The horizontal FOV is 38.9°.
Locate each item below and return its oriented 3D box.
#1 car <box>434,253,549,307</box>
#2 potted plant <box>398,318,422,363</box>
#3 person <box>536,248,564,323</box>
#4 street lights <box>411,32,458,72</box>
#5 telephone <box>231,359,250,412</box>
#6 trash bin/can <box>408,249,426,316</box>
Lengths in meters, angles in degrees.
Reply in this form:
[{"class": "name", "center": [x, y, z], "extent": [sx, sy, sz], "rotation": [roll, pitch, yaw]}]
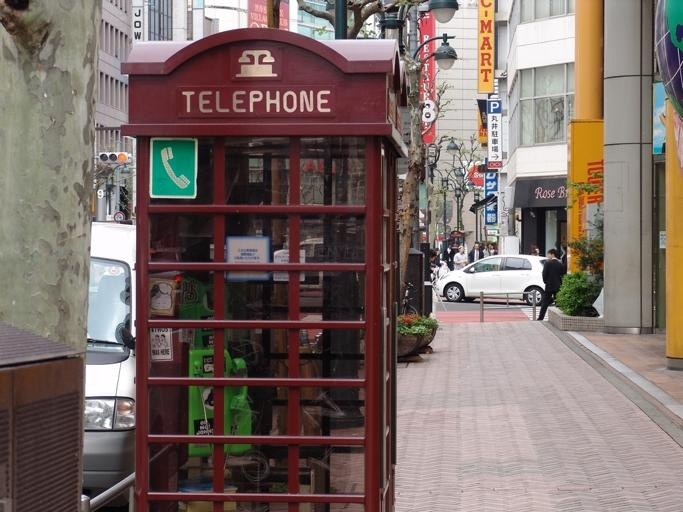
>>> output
[{"class": "car", "center": [4.598, 0.708, 28.984], "extent": [2.470, 1.172, 1.494], "rotation": [3, 0, 23]}, {"class": "potted plant", "center": [1.046, 1.281, 14.986], "extent": [0.392, 0.695, 0.435], "rotation": [-1, 1, -4]}, {"class": "person", "center": [5.000, 0.699, 23.131], "extent": [0.637, 1.693, 1.757], "rotation": [-1, 1, 12]}, {"class": "street lights", "center": [1.882, -4.024, 19.291], "extent": [0.786, 0.763, 0.563], "rotation": [-3, 4, 3]}, {"class": "telephone", "center": [-0.556, 0.756, 5.366], "extent": [0.120, 0.354, 0.075], "rotation": [0, -5, -41]}, {"class": "trash bin/can", "center": [1.343, 0.228, 17.296], "extent": [0.217, 0.710, 0.406], "rotation": [3, 6, 16]}]
